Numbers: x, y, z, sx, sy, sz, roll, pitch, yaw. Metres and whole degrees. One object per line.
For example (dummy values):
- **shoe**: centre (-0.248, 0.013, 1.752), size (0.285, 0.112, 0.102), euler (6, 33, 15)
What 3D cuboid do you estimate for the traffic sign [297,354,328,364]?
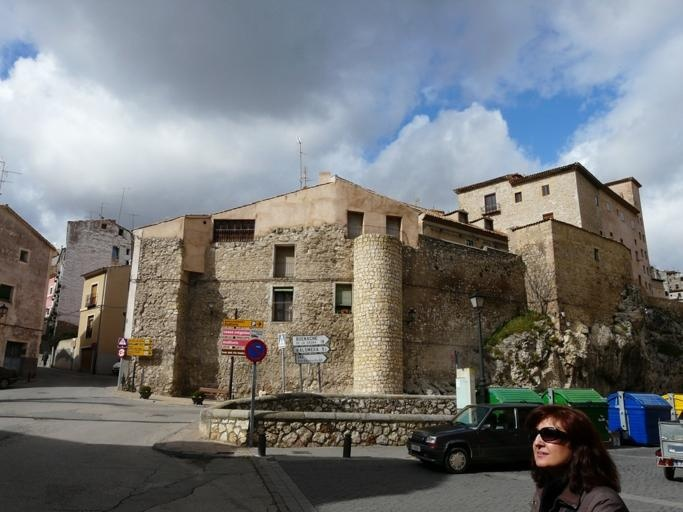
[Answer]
- **traffic sign**: centre (-0.988, 3.469, 16.636), size (1.120, 0.241, 0.670), euler (-9, -18, 31)

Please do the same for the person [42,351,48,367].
- **person**: centre (-27.449, 9.397, 44.697), size (0.684, 1.127, 0.272), euler (1, -7, 34)

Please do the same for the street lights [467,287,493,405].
- **street lights**: centre (5.137, 3.348, 17.756), size (0.883, 4.356, 0.873), euler (0, -4, -24)
